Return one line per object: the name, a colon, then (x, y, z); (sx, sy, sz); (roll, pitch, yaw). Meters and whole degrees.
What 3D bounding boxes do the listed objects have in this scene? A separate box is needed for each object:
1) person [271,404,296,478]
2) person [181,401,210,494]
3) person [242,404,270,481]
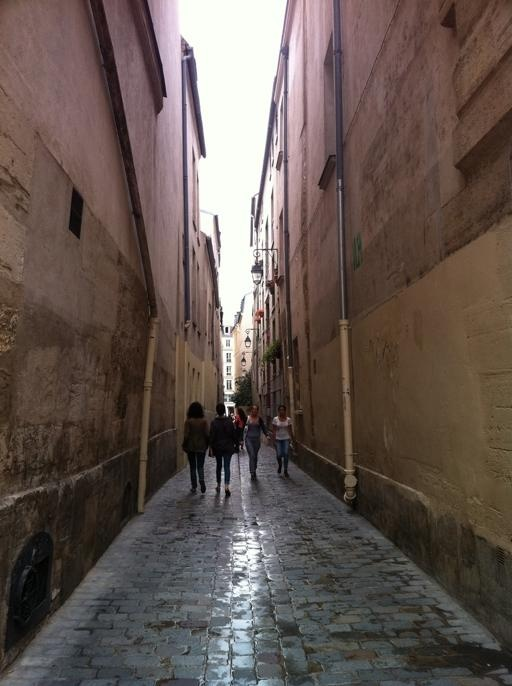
person: (0.655, 2.637, 10.889); (0.315, 2.061, 0.417); (-1, 9, 6)
person: (-1.228, 2.197, 8.356); (0.494, 1.820, 0.420); (1, -7, -9)
person: (-0.096, 2.578, 10.391); (0.478, 1.959, 0.614); (6, -22, -13)
